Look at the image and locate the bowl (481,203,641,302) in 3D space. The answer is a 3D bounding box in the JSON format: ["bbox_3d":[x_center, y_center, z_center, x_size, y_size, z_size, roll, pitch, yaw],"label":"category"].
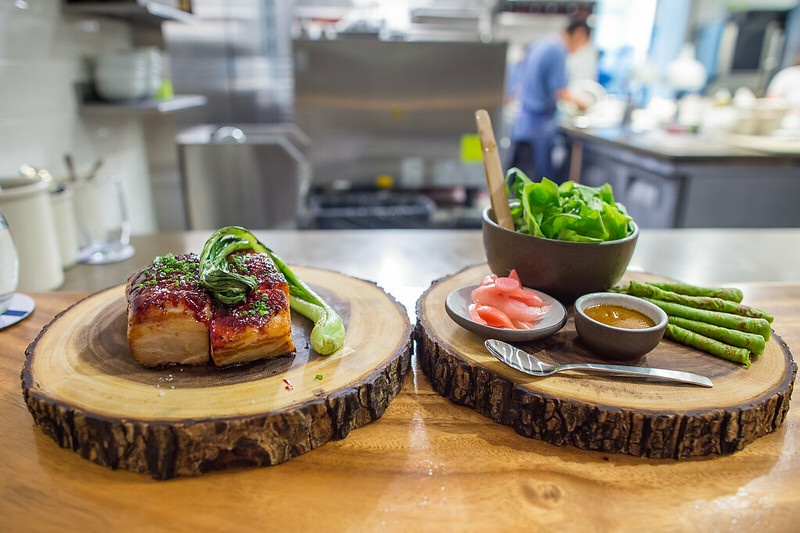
[{"bbox_3d":[0.630,-0.063,2.489,0.565,0.282,0.538,5,22,-2],"label":"bowl"}]

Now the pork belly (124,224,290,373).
[{"bbox_3d":[-0.620,0.090,2.059,0.461,0.168,0.452,-2,40,-16],"label":"pork belly"}]

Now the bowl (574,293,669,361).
[{"bbox_3d":[0.733,0.201,2.127,0.260,0.134,0.246,2,20,-1],"label":"bowl"}]

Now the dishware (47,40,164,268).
[{"bbox_3d":[-1.460,-0.575,3.074,0.366,0.994,1.077,-1,18,-11],"label":"dishware"}]

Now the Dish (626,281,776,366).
[{"bbox_3d":[1.047,0.188,2.219,0.381,0.117,0.298,22,51,20],"label":"Dish"}]

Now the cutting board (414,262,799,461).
[{"bbox_3d":[0.691,0.303,1.968,0.667,0.096,0.654,-1,20,-13],"label":"cutting board"}]
